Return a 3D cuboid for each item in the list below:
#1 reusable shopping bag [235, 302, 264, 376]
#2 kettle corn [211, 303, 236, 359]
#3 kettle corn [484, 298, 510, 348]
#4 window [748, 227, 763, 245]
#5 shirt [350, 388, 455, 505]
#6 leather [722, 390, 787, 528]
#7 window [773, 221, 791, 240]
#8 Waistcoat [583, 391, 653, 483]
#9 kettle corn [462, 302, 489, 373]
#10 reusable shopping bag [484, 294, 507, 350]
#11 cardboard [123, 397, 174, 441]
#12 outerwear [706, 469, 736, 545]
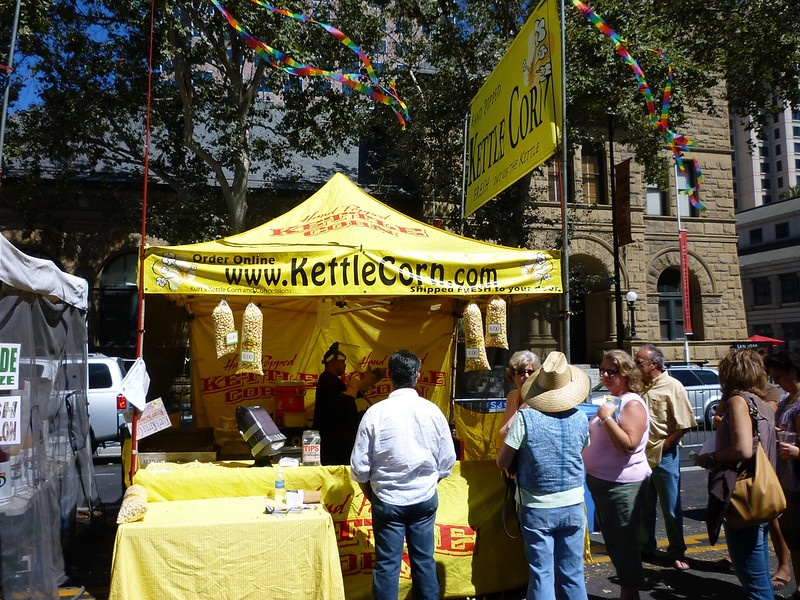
[{"bbox_3d":[-1.882,0.466,10.094,0.281,0.908,0.388,1,-6,-13],"label":"reusable shopping bag"},{"bbox_3d":[-2.198,0.350,10.085,0.286,0.728,0.462,1,-6,-12],"label":"kettle corn"},{"bbox_3d":[1.270,0.296,10.629,0.285,0.680,0.453,-1,-6,6],"label":"kettle corn"},{"bbox_3d":[25.908,-4.655,58.181,0.656,0.944,0.959,5,-3,-17],"label":"window"},{"bbox_3d":[0.006,1.705,9.036,1.363,1.367,0.749,1,3,-8],"label":"shirt"},{"bbox_3d":[3.928,2.008,8.939,0.630,1.093,0.208,0,-6,-3],"label":"leather"},{"bbox_3d":[26.701,-4.866,55.805,0.105,1.384,1.276,3,-5,-18],"label":"window"},{"bbox_3d":[2.386,1.620,9.487,0.896,1.104,0.826,2,-3,1],"label":"Waistcoat"},{"bbox_3d":[1.004,0.472,10.669,0.311,0.908,0.576,-1,-6,6],"label":"kettle corn"},{"bbox_3d":[1.275,0.301,10.670,0.287,0.680,0.538,-1,-6,6],"label":"reusable shopping bag"},{"bbox_3d":[-3.145,1.497,9.966,0.624,0.540,0.070,-29,0,-24],"label":"cardboard"},{"bbox_3d":[3.612,2.274,9.051,0.191,0.734,0.540,5,0,16],"label":"outerwear"}]
